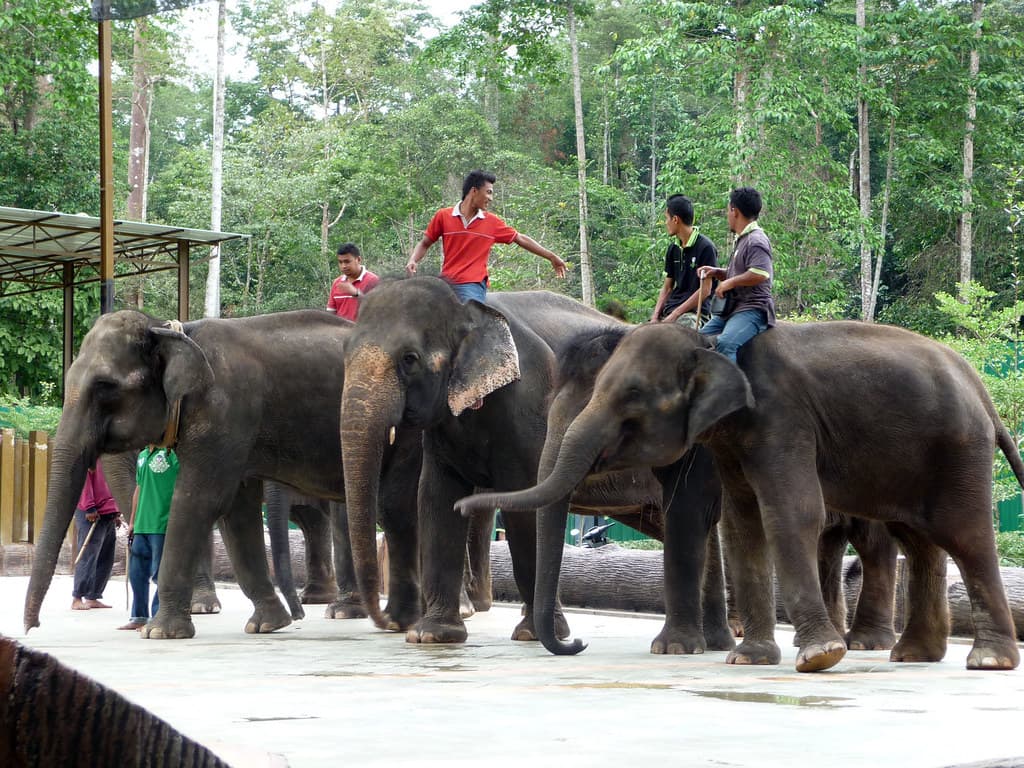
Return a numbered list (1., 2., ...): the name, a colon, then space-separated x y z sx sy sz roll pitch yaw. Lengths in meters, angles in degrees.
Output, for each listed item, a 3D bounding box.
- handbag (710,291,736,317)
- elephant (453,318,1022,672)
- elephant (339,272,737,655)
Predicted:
1. handbag: 1.166 -0.437 6.494 0.089 0.157 0.112 17 27 -18
2. elephant: 1.581 0.567 6.172 2.556 1.813 0.746 0 -1 -14
3. elephant: 0.248 0.601 7.626 3.036 2.201 0.989 8 -16 -32
